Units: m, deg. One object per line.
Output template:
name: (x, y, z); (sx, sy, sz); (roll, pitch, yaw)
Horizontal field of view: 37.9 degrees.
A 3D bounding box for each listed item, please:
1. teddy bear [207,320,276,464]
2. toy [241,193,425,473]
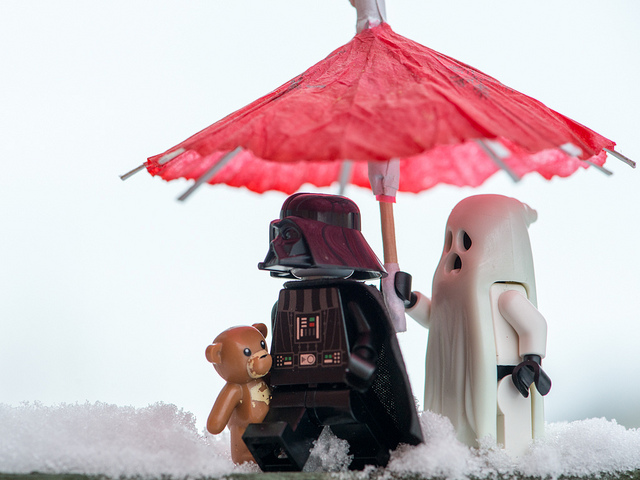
teddy bear: (-0.314, 0.595, 3.726); (0.276, 0.568, 0.220); (4, -21, -3)
toy: (0.027, 0.449, 3.626); (0.794, 1.228, 0.598); (-8, -14, 40)
